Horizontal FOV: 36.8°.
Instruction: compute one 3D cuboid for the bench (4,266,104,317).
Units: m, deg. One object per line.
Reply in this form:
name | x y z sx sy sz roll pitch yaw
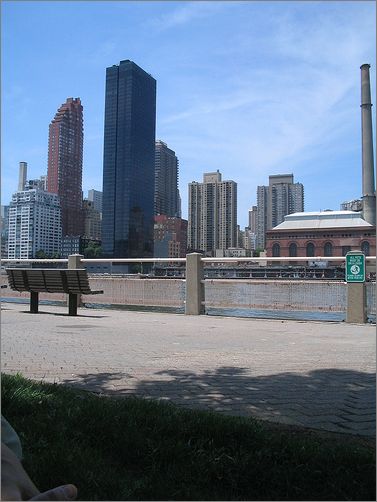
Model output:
bench | -2.534 0.775 10.490 0.897 0.919 2.248 -2 1 -43
